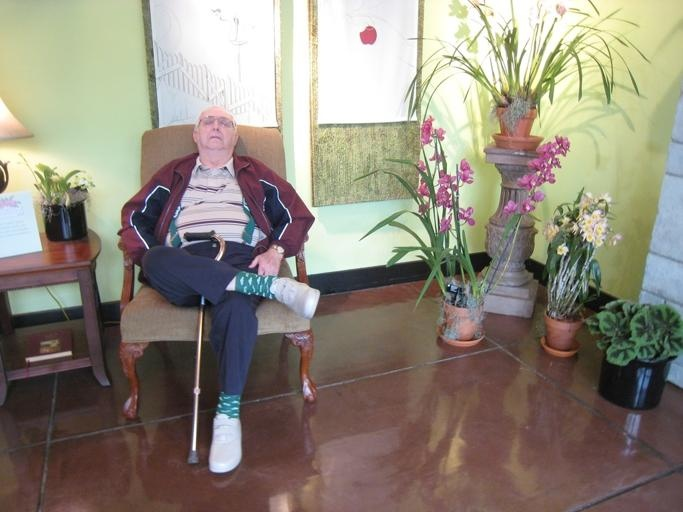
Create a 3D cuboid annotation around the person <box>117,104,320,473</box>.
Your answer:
[{"bbox_3d":[-0.541,0.033,2.501,0.788,1.509,1.097,-5,18,-30],"label":"person"}]

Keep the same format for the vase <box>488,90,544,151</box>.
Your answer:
[{"bbox_3d":[1.024,-0.801,3.088,0.265,0.254,0.277,-2,20,-6],"label":"vase"}]

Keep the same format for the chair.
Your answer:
[{"bbox_3d":[-0.627,0.002,2.654,0.942,1.230,0.960,-2,20,-7],"label":"chair"}]

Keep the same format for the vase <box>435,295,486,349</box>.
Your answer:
[{"bbox_3d":[0.705,0.368,2.995,0.305,0.244,0.304,-12,18,-37],"label":"vase"}]

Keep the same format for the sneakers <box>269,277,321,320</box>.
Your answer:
[{"bbox_3d":[-0.207,0.182,2.354,0.229,0.142,0.096,33,11,13],"label":"sneakers"}]

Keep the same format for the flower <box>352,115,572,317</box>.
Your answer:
[{"bbox_3d":[0.690,-0.189,2.977,1.064,1.010,0.866,16,-4,-4],"label":"flower"}]

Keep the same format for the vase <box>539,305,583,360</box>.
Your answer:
[{"bbox_3d":[1.232,0.444,2.881,0.195,0.209,0.196,-5,15,-23],"label":"vase"}]

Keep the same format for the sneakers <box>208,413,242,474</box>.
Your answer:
[{"bbox_3d":[-0.491,0.786,2.169,0.098,0.107,0.248,0,20,-6],"label":"sneakers"}]

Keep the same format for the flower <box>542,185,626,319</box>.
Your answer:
[{"bbox_3d":[1.375,-0.003,2.867,0.364,0.733,0.354,18,49,24],"label":"flower"}]
